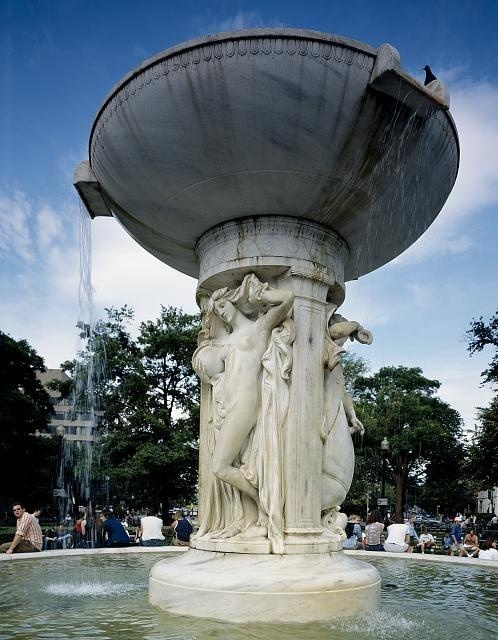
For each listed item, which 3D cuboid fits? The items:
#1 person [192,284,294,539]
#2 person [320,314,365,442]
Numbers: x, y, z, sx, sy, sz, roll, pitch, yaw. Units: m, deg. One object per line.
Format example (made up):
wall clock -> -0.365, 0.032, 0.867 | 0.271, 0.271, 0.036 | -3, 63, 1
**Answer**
person -> -0.072, 0.789, 6.901 | 0.654, 2.532, 1.382 | 8, -6, -44
person -> 0.932, 0.590, 7.302 | 0.361, 1.363, 0.982 | 3, -5, 9
